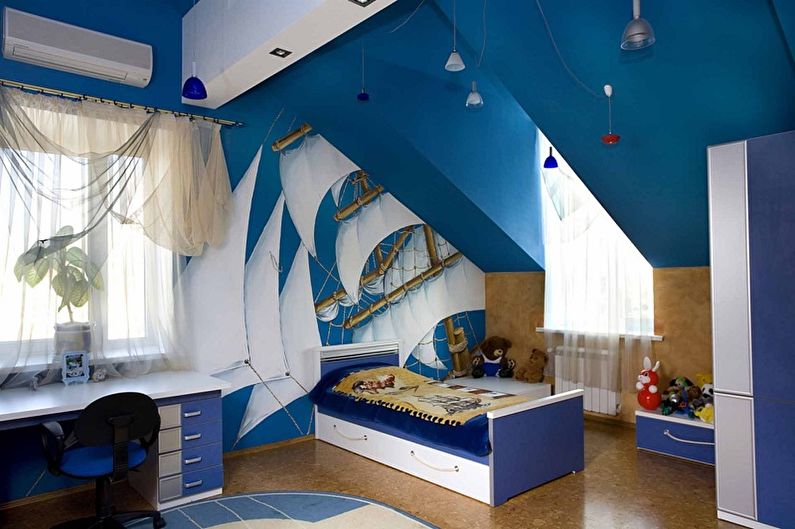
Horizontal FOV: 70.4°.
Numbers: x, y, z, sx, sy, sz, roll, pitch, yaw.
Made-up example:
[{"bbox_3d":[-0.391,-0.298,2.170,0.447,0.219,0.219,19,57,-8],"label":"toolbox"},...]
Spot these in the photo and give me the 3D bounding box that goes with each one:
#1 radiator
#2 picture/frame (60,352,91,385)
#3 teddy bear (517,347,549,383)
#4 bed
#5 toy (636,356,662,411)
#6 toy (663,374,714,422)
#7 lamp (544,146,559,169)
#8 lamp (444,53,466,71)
[{"bbox_3d":[2.288,1.387,6.663,0.824,0.854,0.097,5,7,39],"label":"radiator"},{"bbox_3d":[-2.920,0.944,5.105,0.253,0.333,0.186,-4,3,-4],"label":"picture/frame"},{"bbox_3d":[1.736,1.343,7.381,0.364,0.434,0.355,12,10,22],"label":"teddy bear"},{"bbox_3d":[0.491,1.670,5.681,2.549,0.903,1.004,4,11,24],"label":"bed"},{"bbox_3d":[2.804,1.306,6.318,0.265,0.521,0.514,4,11,23],"label":"toy"},{"bbox_3d":[3.071,1.435,5.982,0.423,0.168,0.451,-11,7,-38],"label":"toy"},{"bbox_3d":[1.776,-1.233,6.528,0.114,0.271,0.865,3,11,16],"label":"lamp"},{"bbox_3d":[0.501,-1.782,4.931,0.125,0.174,0.252,1,10,8],"label":"lamp"}]
